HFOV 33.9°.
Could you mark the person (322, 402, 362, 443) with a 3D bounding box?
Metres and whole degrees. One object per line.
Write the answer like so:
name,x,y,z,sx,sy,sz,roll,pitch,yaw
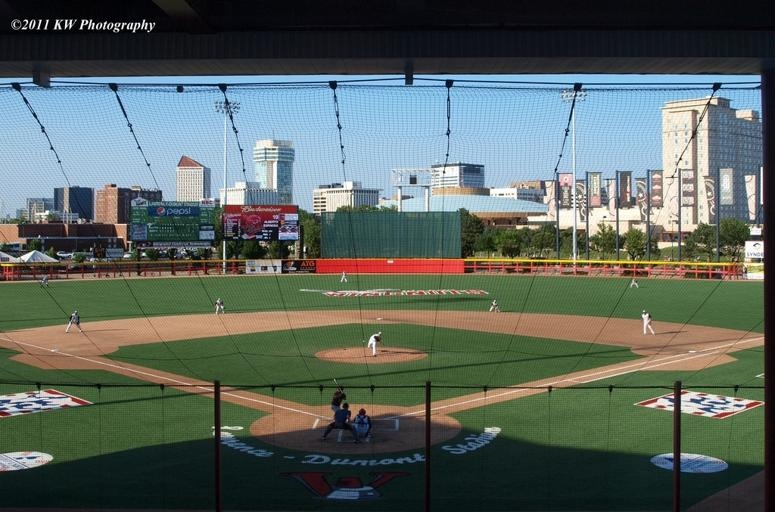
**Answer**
person,-1.955,7.024,53.767,1.463,0.560,1.969,1,36,6
